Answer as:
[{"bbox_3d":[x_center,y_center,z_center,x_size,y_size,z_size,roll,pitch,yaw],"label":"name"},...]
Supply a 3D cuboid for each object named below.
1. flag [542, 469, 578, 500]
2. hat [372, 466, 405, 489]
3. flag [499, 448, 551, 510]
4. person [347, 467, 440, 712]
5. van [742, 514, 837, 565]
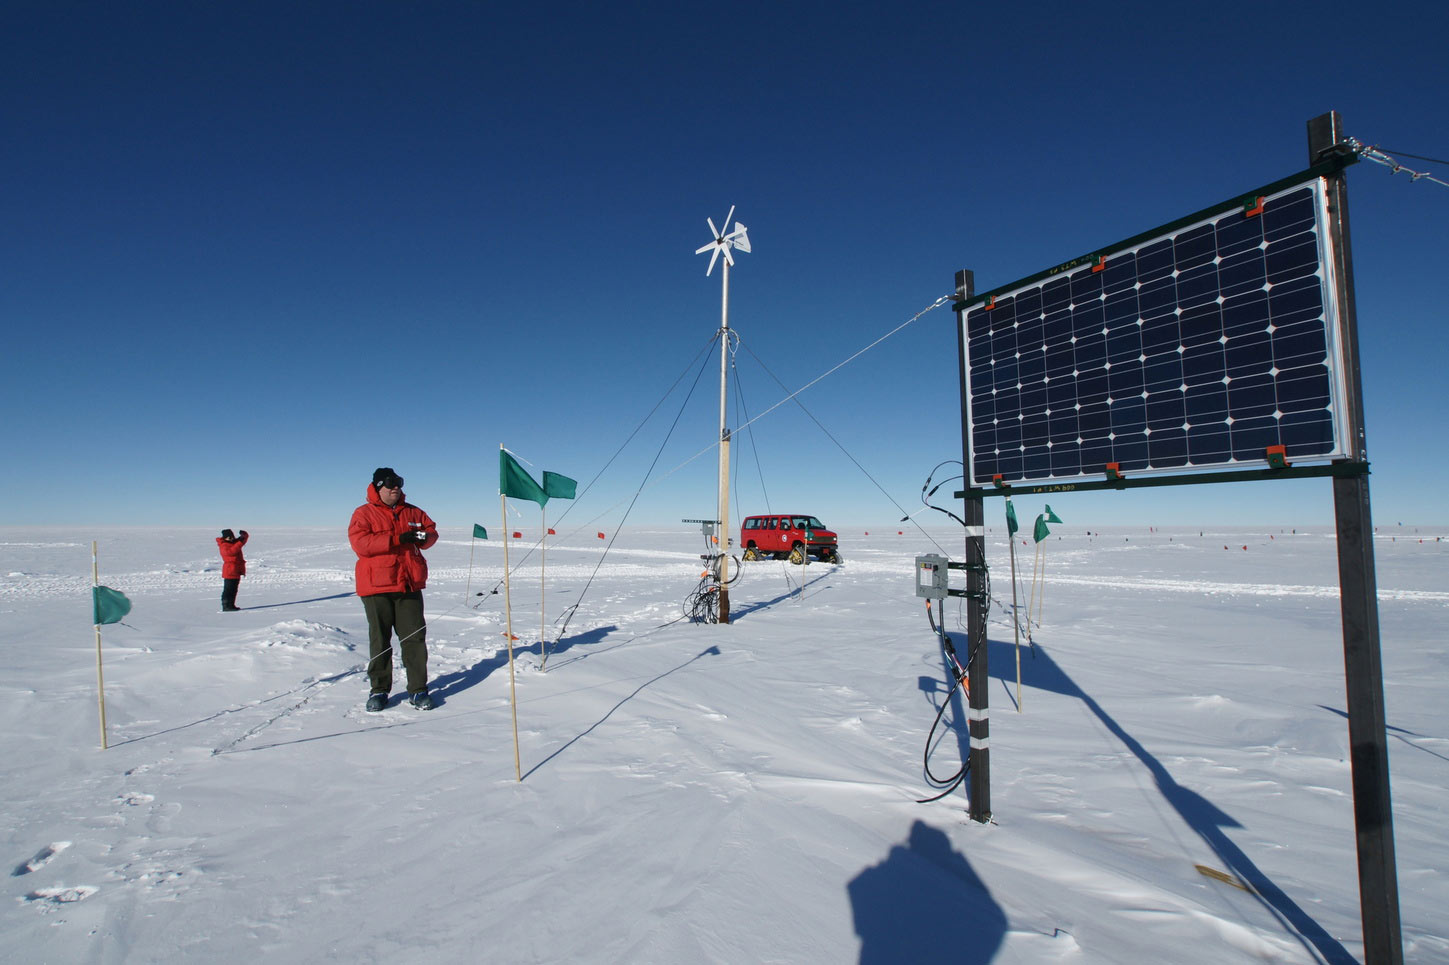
[{"bbox_3d":[-2.021,0.067,11.970,0.020,0.269,0.378,-6,-4,38],"label":"flag"},{"bbox_3d":[-3.647,-0.021,10.782,0.260,0.232,0.199,14,1,37],"label":"hat"},{"bbox_3d":[-2.262,-0.007,10.996,0.089,0.856,0.805,-3,-3,42],"label":"flag"},{"bbox_3d":[-4.332,1.421,13.057,0.923,3.147,1.028,-4,-2,24],"label":"person"},{"bbox_3d":[2.011,2.059,34.879,2.050,1.743,3.968,3,-6,-40],"label":"van"}]
